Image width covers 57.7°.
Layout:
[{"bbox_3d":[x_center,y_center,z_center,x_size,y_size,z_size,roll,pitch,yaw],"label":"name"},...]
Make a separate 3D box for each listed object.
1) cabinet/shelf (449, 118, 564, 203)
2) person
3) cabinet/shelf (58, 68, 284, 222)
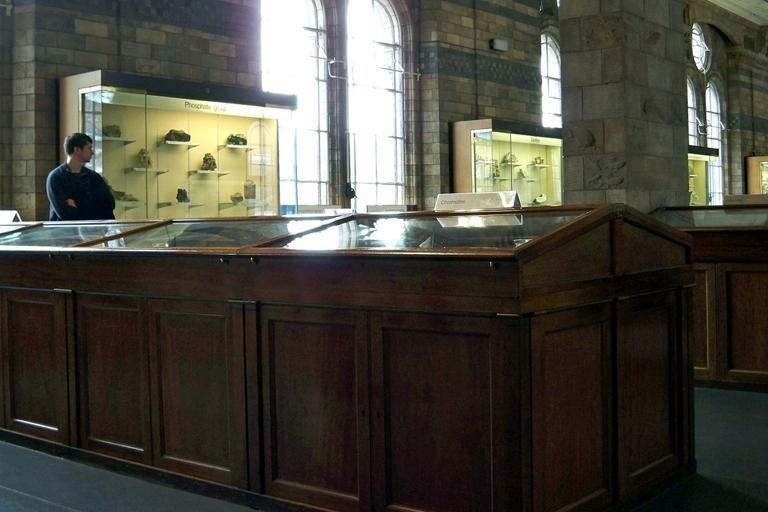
[{"bbox_3d":[2.773,-1.836,15.746,2.298,2.096,0.735,3,-10,-16],"label":"cabinet/shelf"},{"bbox_3d":[-3.031,-0.783,6.910,0.384,0.826,0.480,0,4,29],"label":"person"},{"bbox_3d":[-3.046,-1.513,9.729,2.528,2.141,0.732,-2,1,-43],"label":"cabinet/shelf"}]
